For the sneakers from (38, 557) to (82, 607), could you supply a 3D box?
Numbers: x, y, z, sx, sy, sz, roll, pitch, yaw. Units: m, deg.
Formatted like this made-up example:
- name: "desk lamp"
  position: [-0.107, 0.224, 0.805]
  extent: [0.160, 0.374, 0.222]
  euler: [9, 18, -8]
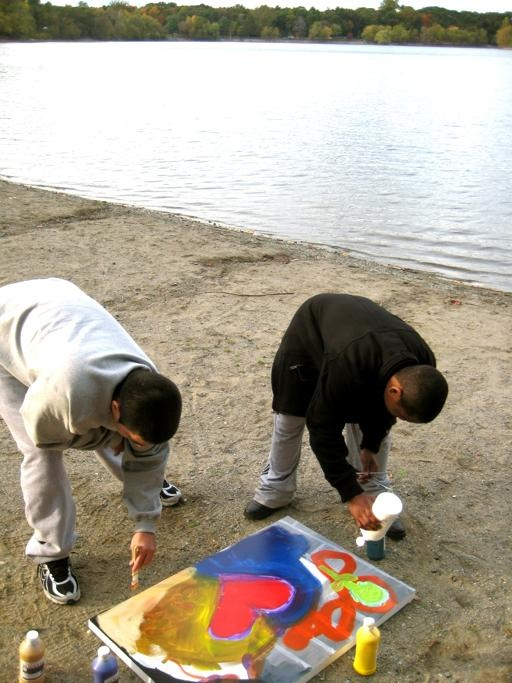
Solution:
- name: "sneakers"
  position: [-1.009, 1.191, 3.089]
  extent: [0.125, 0.139, 0.320]
  euler: [-15, 29, -32]

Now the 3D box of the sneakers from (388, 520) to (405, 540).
- name: "sneakers"
  position: [0.840, 1.126, 3.593]
  extent: [0.073, 0.053, 0.146]
  euler: [-2, 6, -1]

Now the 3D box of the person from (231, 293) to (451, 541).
- name: "person"
  position: [0.432, 0.522, 3.269]
  extent: [1.013, 1.499, 0.780]
  euler: [11, 27, 16]

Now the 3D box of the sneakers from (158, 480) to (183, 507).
- name: "sneakers"
  position: [-0.570, 0.965, 3.869]
  extent: [0.115, 0.099, 0.223]
  euler: [-10, 14, -37]
